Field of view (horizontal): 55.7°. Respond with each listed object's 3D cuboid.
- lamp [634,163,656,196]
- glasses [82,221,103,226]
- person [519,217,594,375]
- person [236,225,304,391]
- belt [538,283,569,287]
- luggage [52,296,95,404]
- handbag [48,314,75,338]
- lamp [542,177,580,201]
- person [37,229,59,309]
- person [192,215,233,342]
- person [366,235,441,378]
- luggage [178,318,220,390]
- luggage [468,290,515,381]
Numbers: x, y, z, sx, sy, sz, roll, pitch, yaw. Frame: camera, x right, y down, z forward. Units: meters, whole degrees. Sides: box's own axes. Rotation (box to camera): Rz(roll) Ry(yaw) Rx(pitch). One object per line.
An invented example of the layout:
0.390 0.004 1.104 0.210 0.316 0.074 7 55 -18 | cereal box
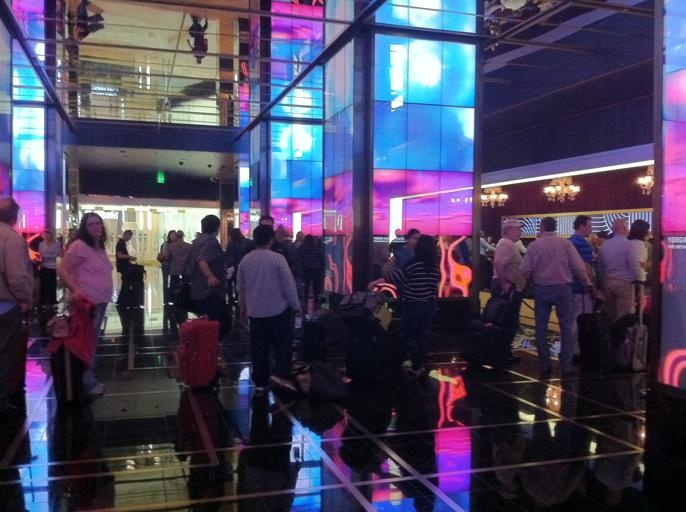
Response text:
8.563 -2.175 18.438 0.408 0.834 1.956 3 8 22 | lamp
-2.853 -0.393 7.425 0.167 0.049 0.051 -4 8 -28 | glasses
2.801 0.615 8.595 0.858 1.797 0.547 1 7 12 | person
-0.893 0.595 7.701 0.759 1.932 0.383 0 7 0 | person
2.770 0.370 8.558 0.391 0.054 0.070 1 7 8 | belt
-3.009 1.021 7.213 0.472 1.124 0.230 -3 7 -19 | luggage
-3.132 0.769 7.219 0.201 0.096 0.261 -2 6 -6 | handbag
7.495 -2.263 21.919 0.801 0.773 0.843 -27 28 -17 | lamp
-6.462 0.245 14.248 0.450 1.645 1.425 -3 8 -24 | person
-1.690 0.282 8.174 0.492 1.597 0.619 -1 7 -7 | person
0.933 0.603 8.581 0.490 1.788 0.497 5 9 39 | person
-1.753 1.176 7.797 0.508 0.847 0.314 0 7 2 | luggage
2.066 1.019 9.064 0.528 0.918 0.679 2 0 -10 | luggage
